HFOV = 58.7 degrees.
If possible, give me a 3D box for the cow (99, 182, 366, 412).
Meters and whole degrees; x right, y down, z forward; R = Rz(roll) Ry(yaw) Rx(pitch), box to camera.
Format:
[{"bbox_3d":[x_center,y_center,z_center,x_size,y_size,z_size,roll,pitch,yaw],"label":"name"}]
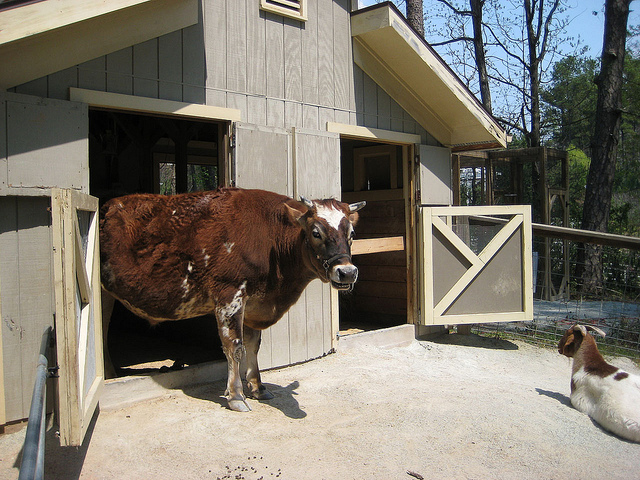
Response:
[{"bbox_3d":[-0.916,0.572,5.747,2.515,2.250,0.825,-1,1,12],"label":"cow"}]
